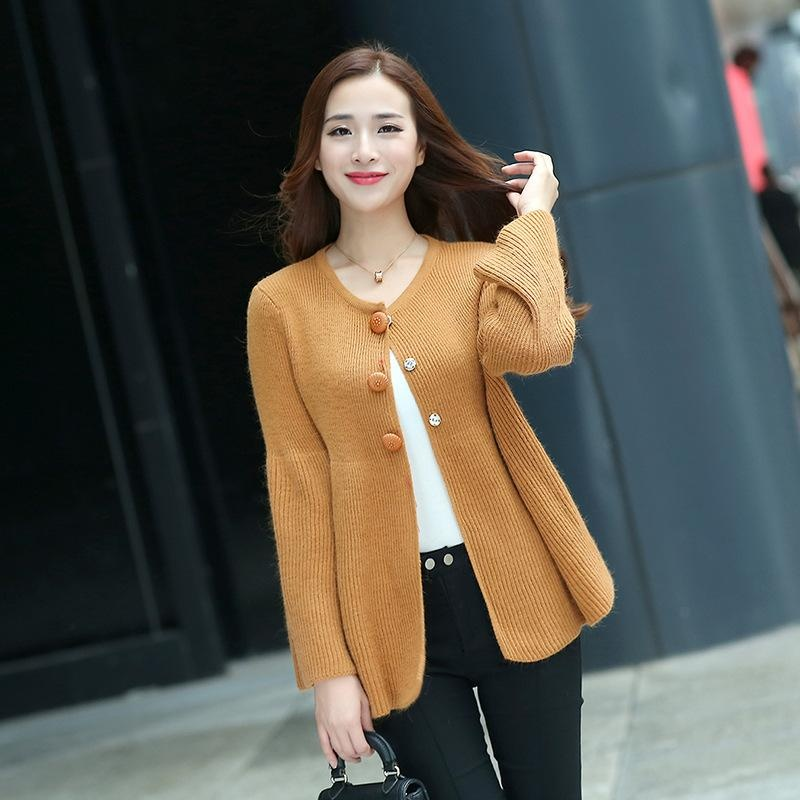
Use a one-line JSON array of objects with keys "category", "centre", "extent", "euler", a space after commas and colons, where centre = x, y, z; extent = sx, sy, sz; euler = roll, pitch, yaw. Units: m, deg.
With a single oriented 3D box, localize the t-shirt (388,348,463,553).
[{"category": "t-shirt", "centre": [0.057, 0.100, 1.493], "extent": [0.081, 0.298, 0.175], "euler": [-5, 3, 26]}]
